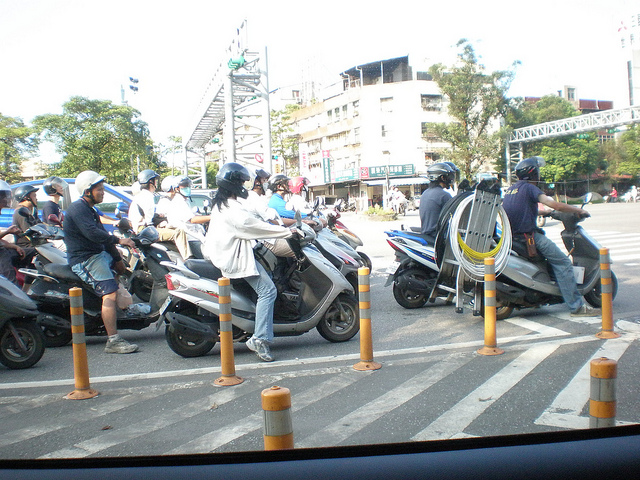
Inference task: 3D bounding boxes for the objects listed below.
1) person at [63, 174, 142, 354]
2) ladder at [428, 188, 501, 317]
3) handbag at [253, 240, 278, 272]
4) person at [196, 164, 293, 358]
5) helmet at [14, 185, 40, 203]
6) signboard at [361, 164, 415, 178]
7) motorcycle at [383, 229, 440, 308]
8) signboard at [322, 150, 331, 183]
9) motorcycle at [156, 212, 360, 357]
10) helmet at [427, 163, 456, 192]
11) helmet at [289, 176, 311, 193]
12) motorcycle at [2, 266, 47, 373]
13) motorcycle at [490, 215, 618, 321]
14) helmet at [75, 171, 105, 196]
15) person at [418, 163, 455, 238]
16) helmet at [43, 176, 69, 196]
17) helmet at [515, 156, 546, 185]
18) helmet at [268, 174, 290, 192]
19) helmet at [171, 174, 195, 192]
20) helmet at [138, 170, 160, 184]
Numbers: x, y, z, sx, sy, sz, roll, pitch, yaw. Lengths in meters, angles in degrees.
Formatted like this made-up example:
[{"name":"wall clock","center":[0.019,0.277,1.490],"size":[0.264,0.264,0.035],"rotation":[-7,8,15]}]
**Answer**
[{"name":"person","center":[-2.673,0.296,7.157],"size":[0.747,2.183,0.796],"rotation":[-5,8,-17]},{"name":"ladder","center":[1.914,0.193,7.798],"size":[0.540,1.716,0.884],"rotation":[-8,9,-35]},{"name":"handbag","center":[-0.651,0.206,7.024],"size":[0.350,0.204,0.265],"rotation":[40,-12,-14]},{"name":"person","center":[-0.831,0.219,6.613],"size":[0.795,2.128,0.585],"rotation":[1,8,32]},{"name":"helmet","center":[-4.481,-0.707,8.950],"size":[0.297,0.255,0.508],"rotation":[-6,8,-26]},{"name":"signboard","center":[5.832,-6.053,51.559],"size":[4.233,0.982,1.369],"rotation":[2,8,36]},{"name":"motorcycle","center":[1.329,0.470,8.597],"size":[0.727,1.197,0.691],"rotation":[-2,7,10]},{"name":"signboard","center":[0.621,-7.186,57.787],"size":[0.807,3.079,0.601],"rotation":[-1,8,16]},{"name":"motorcycle","center":[-0.707,0.522,6.965],"size":[2.456,1.572,0.836],"rotation":[-2,2,-15]},{"name":"helmet","center":[1.785,-0.918,8.672],"size":[0.512,0.469,0.406],"rotation":[-1,7,-5]},{"name":"helmet","center":[-0.352,-0.922,9.655],"size":[0.302,0.225,0.212],"rotation":[-33,7,-3]},{"name":"motorcycle","center":[-3.339,0.936,6.525],"size":[0.402,1.009,0.335],"rotation":[2,9,35]},{"name":"motorcycle","center":[3.106,0.292,7.947],"size":[2.356,1.380,0.906],"rotation":[-3,4,-18]},{"name":"helmet","center":[-2.746,-0.689,7.042],"size":[0.317,0.245,0.266],"rotation":[-19,12,-16]},{"name":"person","center":[1.735,-0.581,8.516],"size":[0.538,1.059,0.476],"rotation":[-6,8,-25]},{"name":"helmet","center":[-4.217,-0.869,9.393],"size":[0.340,0.261,0.267],"rotation":[-6,11,-21]},{"name":"helmet","center":[2.856,-0.951,8.101],"size":[0.501,0.404,0.353],"rotation":[-7,5,-29]},{"name":"helmet","center":[-0.625,-0.825,8.540],"size":[0.411,0.254,0.222],"rotation":[4,9,43]},{"name":"helmet","center":[-2.525,-1.048,10.841],"size":[0.360,0.274,0.264],"rotation":[-11,15,-17]},{"name":"helmet","center":[-2.836,-1.063,9.800],"size":[0.209,0.143,0.294],"rotation":[-2,19,46]}]
